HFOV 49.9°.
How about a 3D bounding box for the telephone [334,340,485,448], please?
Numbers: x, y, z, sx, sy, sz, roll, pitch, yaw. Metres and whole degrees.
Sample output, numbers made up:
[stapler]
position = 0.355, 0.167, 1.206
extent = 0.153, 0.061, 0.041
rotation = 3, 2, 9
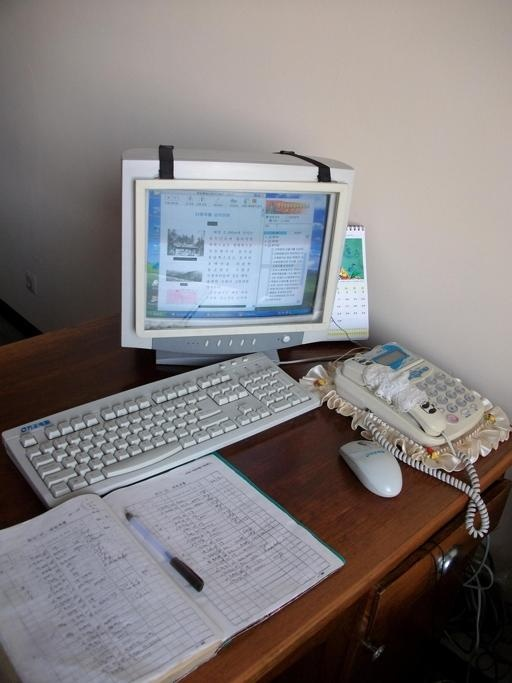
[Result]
[telephone]
position = 0.246, 0.086, 0.897
extent = 0.147, 0.066, 0.190
rotation = -26, 45, -35

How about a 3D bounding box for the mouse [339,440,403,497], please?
[mouse]
position = 0.162, 0.165, 0.761
extent = 0.065, 0.032, 0.110
rotation = -12, 30, -16

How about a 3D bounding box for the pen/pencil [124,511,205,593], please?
[pen/pencil]
position = -0.097, 0.220, 0.572
extent = 0.110, 0.011, 0.013
rotation = 29, -1, 39
